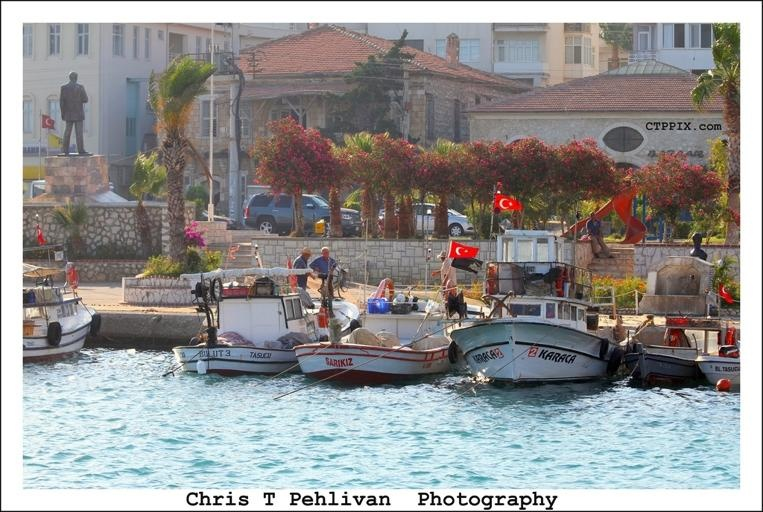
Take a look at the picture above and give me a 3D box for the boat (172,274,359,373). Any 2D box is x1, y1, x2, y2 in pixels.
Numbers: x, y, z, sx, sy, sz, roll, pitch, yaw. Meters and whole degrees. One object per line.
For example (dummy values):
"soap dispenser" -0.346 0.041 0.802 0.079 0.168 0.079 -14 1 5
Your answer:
"boat" -5.193 2.888 67.249 2.877 2.894 7.398 -2 -4 20

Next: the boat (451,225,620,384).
"boat" 7.040 2.446 69.523 3.820 4.188 8.792 0 -1 18

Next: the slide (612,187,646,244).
"slide" 11.672 -1.805 81.126 1.451 2.543 6.700 0 2 8

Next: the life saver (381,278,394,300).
"life saver" 0.229 1.449 69.953 0.523 0.821 1.561 0 2 3

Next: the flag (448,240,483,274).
"flag" 3.411 0.169 70.965 1.501 1.154 0.191 1 -3 -30

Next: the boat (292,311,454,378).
"boat" -0.192 3.660 67.489 5.869 2.669 2.557 0 2 -4

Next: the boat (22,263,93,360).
"boat" -13.412 2.408 69.407 3.026 3.662 1.174 -2 3 -36

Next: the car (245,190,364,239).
"car" -4.071 -1.955 83.749 5.192 2.059 2.387 -1 2 12

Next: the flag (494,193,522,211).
"flag" 5.161 -2.148 70.788 1.103 0.768 0.190 0 -16 7
